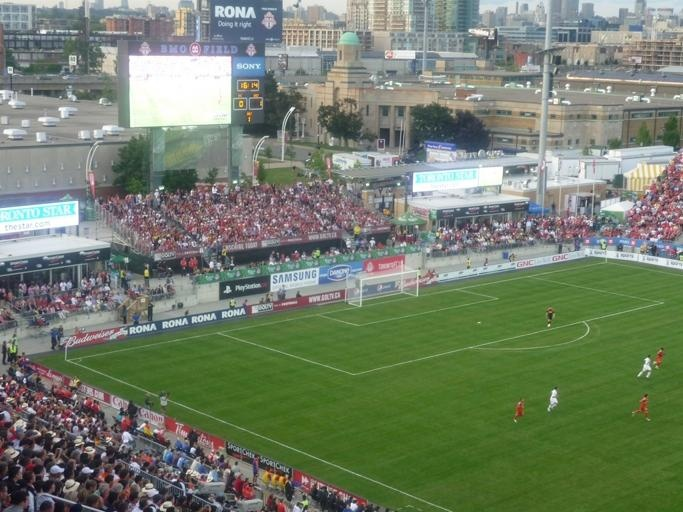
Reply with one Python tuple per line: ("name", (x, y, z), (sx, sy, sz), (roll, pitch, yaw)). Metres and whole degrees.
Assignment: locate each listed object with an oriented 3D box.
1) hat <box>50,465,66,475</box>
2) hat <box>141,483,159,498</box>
("hat", (-24.231, 17.802, 131.756), (1.005, 0.681, 0.700), (-5, 10, -11))
("hat", (-16.637, 19.942, 134.001), (1.163, 0.360, 1.227), (4, 7, 15))
